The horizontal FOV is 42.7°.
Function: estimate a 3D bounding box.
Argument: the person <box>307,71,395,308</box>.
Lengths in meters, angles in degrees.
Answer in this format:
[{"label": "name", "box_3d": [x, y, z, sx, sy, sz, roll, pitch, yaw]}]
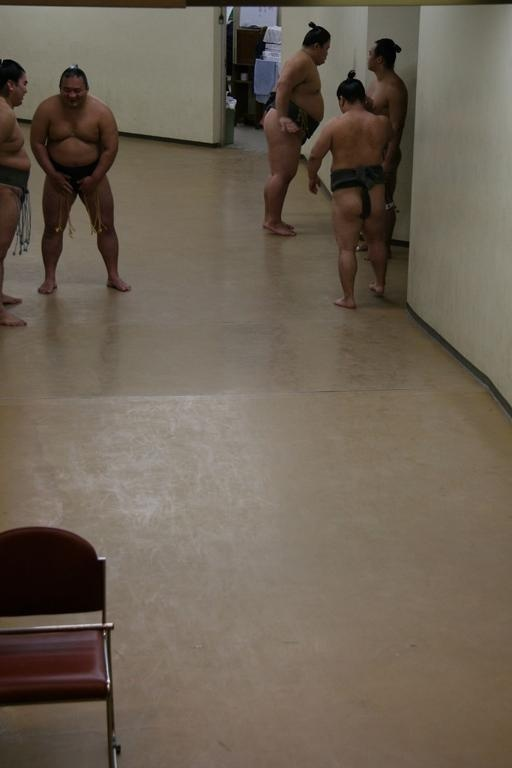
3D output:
[{"label": "person", "box_3d": [0.620, -1.203, 4.180, 0.583, 1.377, 0.411, 0, 17, -6]}]

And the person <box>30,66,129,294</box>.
[{"label": "person", "box_3d": [-1.143, -1.256, 4.180, 0.605, 1.396, 0.597, 0, 17, -7]}]
